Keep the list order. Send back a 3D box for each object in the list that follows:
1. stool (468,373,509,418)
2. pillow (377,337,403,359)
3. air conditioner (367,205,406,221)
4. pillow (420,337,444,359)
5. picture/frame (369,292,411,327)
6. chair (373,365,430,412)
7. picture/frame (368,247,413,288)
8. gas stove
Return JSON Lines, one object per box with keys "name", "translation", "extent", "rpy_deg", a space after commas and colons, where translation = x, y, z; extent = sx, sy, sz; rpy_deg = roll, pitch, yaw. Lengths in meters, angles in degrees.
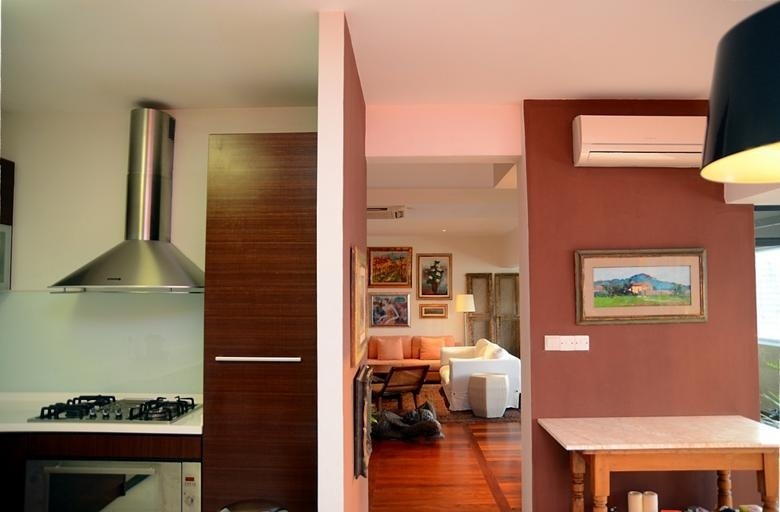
{"name": "stool", "translation": [1.139, 1.596, 7.709], "extent": [0.484, 0.426, 0.516], "rpy_deg": [2, -3, -20]}
{"name": "pillow", "translation": [-0.010, 1.429, 10.190], "extent": [0.321, 0.290, 0.109], "rpy_deg": [1, -40, -1]}
{"name": "air conditioner", "translation": [-0.030, -0.538, 8.375], "extent": [0.455, 0.212, 0.761], "rpy_deg": [3, 7, 1]}
{"name": "pillow", "translation": [0.639, 1.423, 10.155], "extent": [0.295, 0.268, 0.107], "rpy_deg": [-1, -24, 8]}
{"name": "picture/frame", "translation": [0.009, 0.896, 10.810], "extent": [0.604, 0.462, 0.057], "rpy_deg": [1, -8, -3]}
{"name": "chair", "translation": [0.149, 1.539, 7.953], "extent": [0.605, 0.803, 0.607], "rpy_deg": [1, 0, -14]}
{"name": "picture/frame", "translation": [0.030, 0.208, 10.870], "extent": [0.731, 0.581, 0.070], "rpy_deg": [0, -1, 2]}
{"name": "gas stove", "translation": [-1.969, 1.102, 4.843], "extent": [1.101, 0.133, 0.552], "rpy_deg": [3, 7, 1]}
